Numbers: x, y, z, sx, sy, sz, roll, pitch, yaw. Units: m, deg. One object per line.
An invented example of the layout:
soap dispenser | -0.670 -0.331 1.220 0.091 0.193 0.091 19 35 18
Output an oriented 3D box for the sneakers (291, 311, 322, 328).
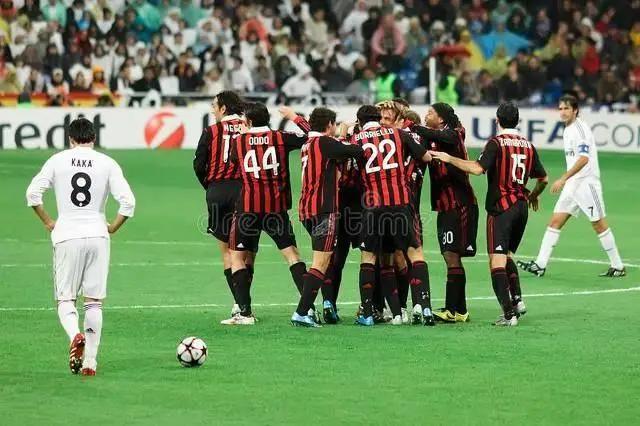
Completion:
sneakers | -0.195 1.360 11.509 0.460 0.221 0.156 9 3 -11

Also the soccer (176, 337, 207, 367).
soccer | -1.449 1.597 10.292 0.309 0.331 0.327 -20 -34 30

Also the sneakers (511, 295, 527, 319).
sneakers | 2.567 1.235 11.764 0.128 0.206 0.355 -27 -11 -1

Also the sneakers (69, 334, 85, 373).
sneakers | -2.700 1.521 9.917 0.148 0.458 0.196 1 13 -19

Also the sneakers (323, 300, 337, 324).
sneakers | 0.118 1.249 11.589 0.121 0.156 0.343 -3 -33 13

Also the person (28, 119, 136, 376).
person | -2.668 0.341 10.142 0.887 2.751 0.862 10 15 41

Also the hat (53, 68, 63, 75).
hat | -7.708 -4.140 26.285 0.191 0.277 0.204 2 4 -6

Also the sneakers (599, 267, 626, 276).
sneakers | 4.588 0.913 14.053 0.437 0.185 0.153 0 -1 -3

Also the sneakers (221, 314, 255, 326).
sneakers | -1.054 1.372 11.540 0.438 0.173 0.166 1 -7 -2

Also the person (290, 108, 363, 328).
person | 0.072 0.029 11.522 0.822 2.703 0.829 1 11 2

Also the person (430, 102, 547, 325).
person | 2.409 -0.008 11.752 1.506 2.814 0.914 -8 14 -36

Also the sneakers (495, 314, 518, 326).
sneakers | 2.405 1.379 11.626 0.340 0.162 0.118 0 -2 2

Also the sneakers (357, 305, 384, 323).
sneakers | 0.697 1.325 11.872 0.166 0.205 0.470 0 1 -4
